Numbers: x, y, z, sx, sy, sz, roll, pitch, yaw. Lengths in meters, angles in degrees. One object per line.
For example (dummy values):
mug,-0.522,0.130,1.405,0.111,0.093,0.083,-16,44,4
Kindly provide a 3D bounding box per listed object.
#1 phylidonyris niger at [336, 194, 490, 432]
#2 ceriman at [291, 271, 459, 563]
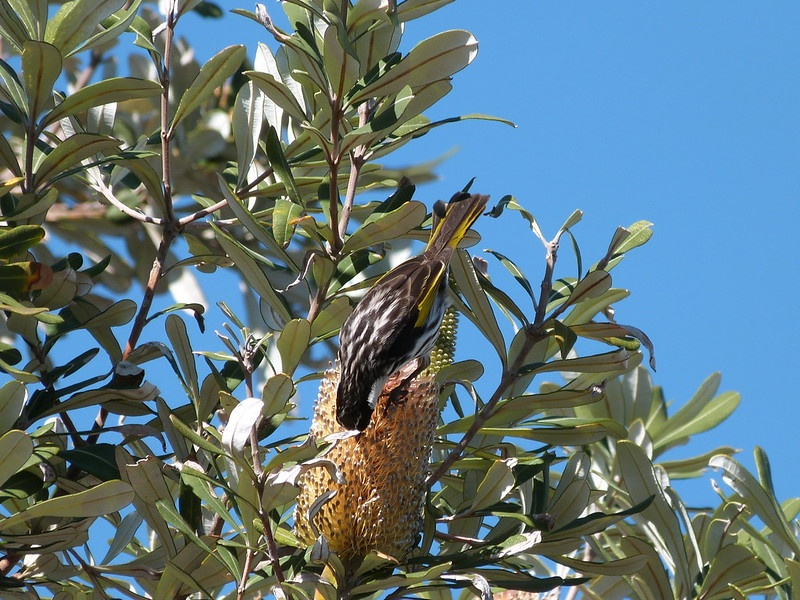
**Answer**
phylidonyris niger,0.119,0.014,5.666,0.405,1.091,0.312,16,-14,-7
ceriman,-0.076,0.515,5.271,0.429,0.771,0.236,16,-23,2
